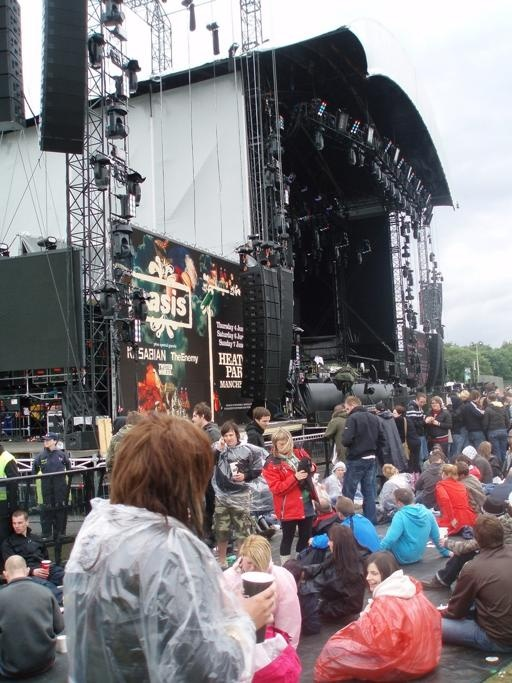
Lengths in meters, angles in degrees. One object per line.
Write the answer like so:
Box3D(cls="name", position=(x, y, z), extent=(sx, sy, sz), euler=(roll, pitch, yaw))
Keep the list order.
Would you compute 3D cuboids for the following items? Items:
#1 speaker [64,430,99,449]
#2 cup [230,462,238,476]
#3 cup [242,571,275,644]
Box3D(cls="speaker", position=(-3.203, 1.726, 12.192), extent=(0.414, 0.259, 0.397), euler=(6, -9, -44))
Box3D(cls="cup", position=(-0.222, 1.241, 6.604), extent=(0.091, 0.151, 0.090), euler=(-1, -1, 0))
Box3D(cls="cup", position=(0.005, 0.763, 1.852), extent=(0.086, 0.195, 0.299), euler=(-2, 0, -1))
